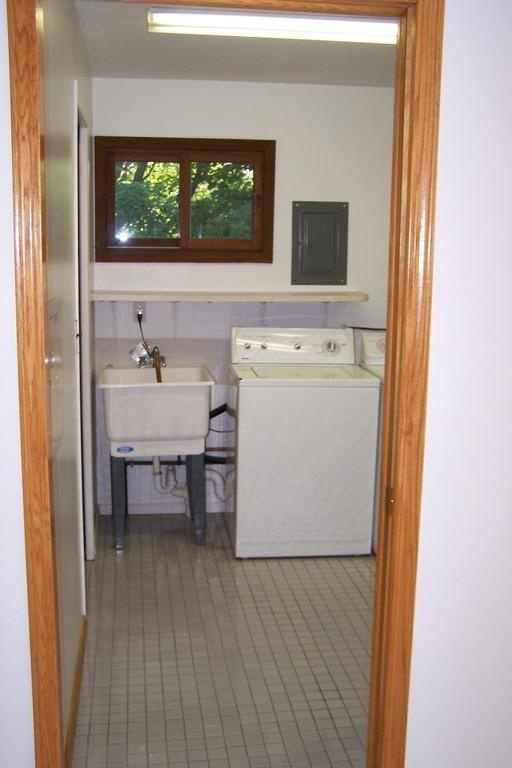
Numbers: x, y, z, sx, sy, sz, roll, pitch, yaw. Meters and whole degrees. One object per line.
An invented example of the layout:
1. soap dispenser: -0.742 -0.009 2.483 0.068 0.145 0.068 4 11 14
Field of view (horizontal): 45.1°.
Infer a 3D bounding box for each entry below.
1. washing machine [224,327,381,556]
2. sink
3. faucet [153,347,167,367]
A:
1. washing machine: 0.256 0.301 3.538 0.707 1.260 0.697 0 3 7
2. sink: -0.551 0.168 3.468 0.594 0.447 0.499 -2 11 -10
3. faucet: -0.579 -0.163 3.711 0.040 0.157 0.056 -2 -14 -17
